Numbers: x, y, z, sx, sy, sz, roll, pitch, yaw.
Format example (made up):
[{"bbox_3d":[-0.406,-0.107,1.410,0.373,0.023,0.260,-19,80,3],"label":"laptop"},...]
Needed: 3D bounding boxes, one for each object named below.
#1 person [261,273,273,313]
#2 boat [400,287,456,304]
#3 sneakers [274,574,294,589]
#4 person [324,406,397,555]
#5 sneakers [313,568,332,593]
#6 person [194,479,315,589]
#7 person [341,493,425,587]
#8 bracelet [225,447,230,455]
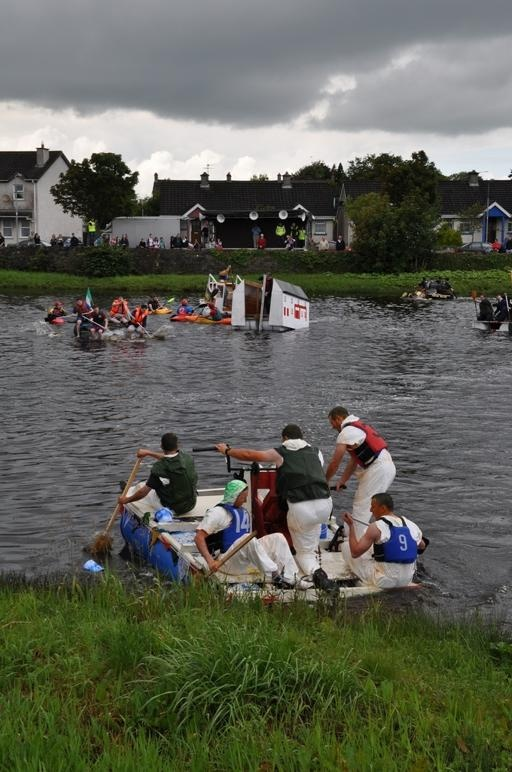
[{"bbox_3d":[0.524,-4.817,44.097,0.489,2.236,0.968,5,-1,-2],"label":"person"},{"bbox_3d":[12.498,-6.513,60.858,2.790,0.868,2.084,1,1,-37],"label":"boat"},{"bbox_3d":[0.296,2.213,9.312,0.284,0.157,0.111,5,-1,31],"label":"sneakers"},{"bbox_3d":[1.408,1.365,11.442,1.206,2.139,0.958,6,28,24],"label":"person"},{"bbox_3d":[0.756,2.190,9.297,0.180,0.239,0.365,5,-1,-11],"label":"sneakers"},{"bbox_3d":[-0.183,1.753,9.509,1.466,1.202,0.931,2,2,26],"label":"person"},{"bbox_3d":[1.509,1.896,9.935,0.917,1.087,0.824,-7,18,-19],"label":"person"},{"bbox_3d":[-0.334,0.753,9.525,0.040,0.078,0.057,4,0,-6],"label":"bracelet"}]
